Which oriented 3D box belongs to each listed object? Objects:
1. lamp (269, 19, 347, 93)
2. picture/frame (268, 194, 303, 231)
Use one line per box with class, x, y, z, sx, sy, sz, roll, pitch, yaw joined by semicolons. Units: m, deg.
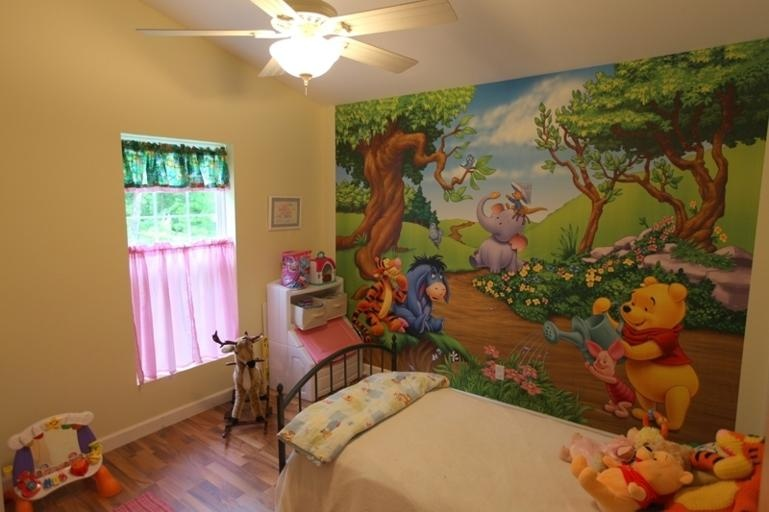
lamp;-0.496;-1.252;3.204;0.386;0.295;0.419;1;-5;-33
picture/frame;-1.095;-0.481;5.421;0.027;0.348;0.394;6;8;39
